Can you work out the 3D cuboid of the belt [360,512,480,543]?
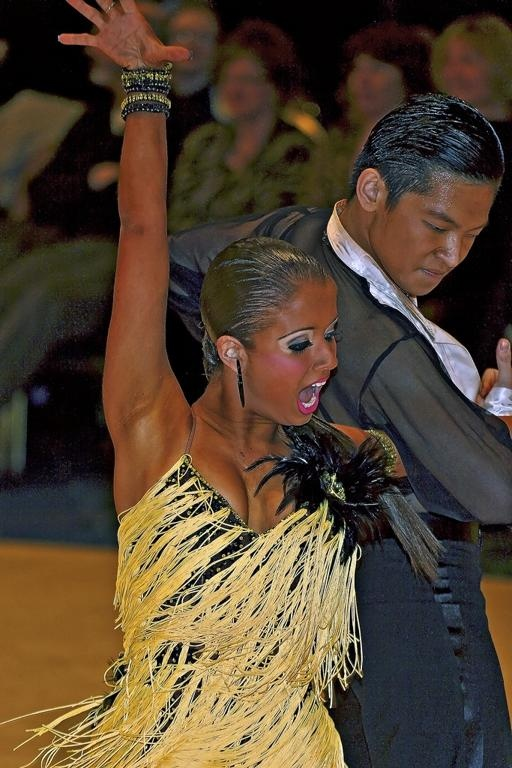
[{"bbox_3d":[0.305,0.268,1.862,0.135,0.035,0.169,0,1,16],"label":"belt"}]
